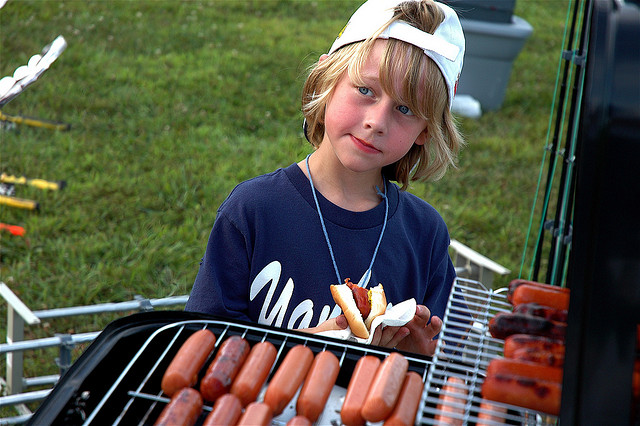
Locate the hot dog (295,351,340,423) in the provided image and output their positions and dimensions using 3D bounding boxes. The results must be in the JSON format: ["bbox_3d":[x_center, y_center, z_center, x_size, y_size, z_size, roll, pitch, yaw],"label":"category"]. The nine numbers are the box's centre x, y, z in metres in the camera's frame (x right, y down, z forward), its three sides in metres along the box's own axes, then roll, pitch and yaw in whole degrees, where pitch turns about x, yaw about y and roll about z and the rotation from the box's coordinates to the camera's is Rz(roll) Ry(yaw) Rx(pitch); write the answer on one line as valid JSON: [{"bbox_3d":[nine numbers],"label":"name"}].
[{"bbox_3d":[-0.005,0.446,1.693,0.061,0.064,0.216,21,50,-3],"label":"hot dog"}]

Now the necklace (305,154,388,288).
[{"bbox_3d":[0.089,0.015,2.255,0.309,0.267,0.416,4,38,-4],"label":"necklace"}]

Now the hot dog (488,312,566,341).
[{"bbox_3d":[0.552,0.292,1.654,0.154,0.082,0.060,9,79,4],"label":"hot dog"}]

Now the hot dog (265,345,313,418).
[{"bbox_3d":[-0.085,0.438,1.704,0.066,0.072,0.240,24,56,2],"label":"hot dog"}]

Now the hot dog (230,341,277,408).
[{"bbox_3d":[-0.173,0.464,1.792,0.105,0.131,0.314,3,6,1],"label":"hot dog"}]

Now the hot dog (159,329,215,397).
[{"bbox_3d":[-0.357,0.403,1.737,0.077,0.077,0.220,15,62,19],"label":"hot dog"}]

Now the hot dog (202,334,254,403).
[{"bbox_3d":[-0.259,0.444,1.729,0.086,0.099,0.231,9,21,10],"label":"hot dog"}]
